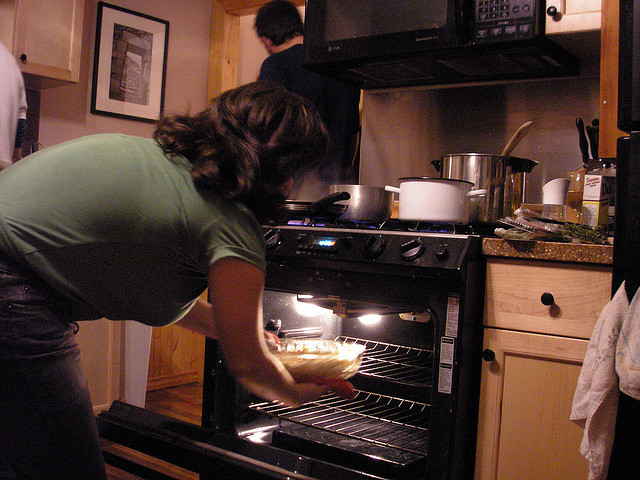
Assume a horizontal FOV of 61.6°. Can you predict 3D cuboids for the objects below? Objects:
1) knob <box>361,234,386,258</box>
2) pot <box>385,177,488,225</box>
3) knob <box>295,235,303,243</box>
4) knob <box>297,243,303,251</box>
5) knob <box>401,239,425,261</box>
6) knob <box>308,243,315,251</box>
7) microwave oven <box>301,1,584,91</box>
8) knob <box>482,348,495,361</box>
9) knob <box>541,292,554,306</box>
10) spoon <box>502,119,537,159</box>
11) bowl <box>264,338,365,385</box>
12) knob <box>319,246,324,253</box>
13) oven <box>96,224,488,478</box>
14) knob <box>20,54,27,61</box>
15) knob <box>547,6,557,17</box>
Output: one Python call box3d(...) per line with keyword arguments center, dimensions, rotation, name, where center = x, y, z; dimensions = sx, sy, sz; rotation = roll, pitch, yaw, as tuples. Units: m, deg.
box3d(center=(0.156, 0.026, 1.589), dimensions=(0.019, 0.059, 0.061), rotation=(27, 31, -34), name="knob")
box3d(center=(0.395, -0.113, 1.800), dimensions=(0.305, 0.150, 0.284), rotation=(3, 0, 0), name="pot")
box3d(center=(-0.067, -0.003, 1.708), dimensions=(0.024, 0.026, 0.017), rotation=(6, -18, 31), name="knob")
box3d(center=(-0.066, 0.024, 1.693), dimensions=(0.018, 0.020, 0.034), rotation=(1, 26, 12), name="knob")
box3d(center=(0.264, 0.032, 1.535), dimensions=(0.066, 0.060, 0.033), rotation=(3, 4, 11), name="knob")
box3d(center=(-0.031, 0.025, 1.673), dimensions=(0.017, 0.005, 0.017), rotation=(-2, 32, 13), name="knob")
box3d(center=(0.462, -0.783, 2.084), dimensions=(0.955, 0.264, 0.545), rotation=(6, 5, 33), name="microwave oven")
box3d(center=(0.491, 0.341, 1.569), dimensions=(0.034, 0.033, 0.014), rotation=(4, 4, 17), name="knob")
box3d(center=(0.638, 0.169, 1.510), dimensions=(0.033, 0.035, 0.015), rotation=(4, 4, 21), name="knob")
box3d(center=(0.778, -0.389, 2.079), dimensions=(0.055, 0.059, 0.244), rotation=(16, -39, -2), name="spoon")
box3d(center=(0.000, 0.356, 1.431), dimensions=(0.243, 0.078, 0.143), rotation=(19, -15, -42), name="bowl")
box3d(center=(0.002, 0.032, 1.653), dimensions=(0.015, 0.015, 0.004), rotation=(5, -9, 44), name="knob")
box3d(center=(-0.005, 0.383, 1.654), dimensions=(0.952, 0.921, 0.870), rotation=(6, 7, 33), name="oven")
box3d(center=(-1.482, -0.913, 2.685), dimensions=(0.008, 0.032, 0.033), rotation=(5, 4, 38), name="knob")
box3d(center=(0.778, -0.768, 1.802), dimensions=(0.030, 0.032, 0.023), rotation=(4, 4, 23), name="knob")
